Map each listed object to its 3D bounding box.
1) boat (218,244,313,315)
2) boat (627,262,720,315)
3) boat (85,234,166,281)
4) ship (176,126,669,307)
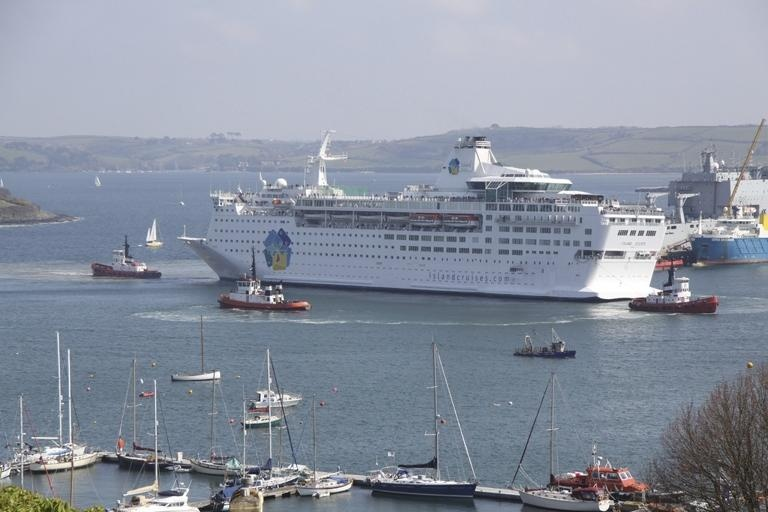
[{"bbox_3d":[-8.692,2.932,126.008,9.124,4.777,3.154,5,8,28],"label":"boat"},{"bbox_3d":[20.735,2.963,122.363,7.600,2.998,2.455,0,0,7],"label":"boat"},{"bbox_3d":[-21.407,0.304,141.176,6.373,3.278,2.037,4,5,26],"label":"boat"},{"bbox_3d":[3.871,-3.064,135.197,37.548,13.717,14.984,-1,-3,18],"label":"ship"}]
